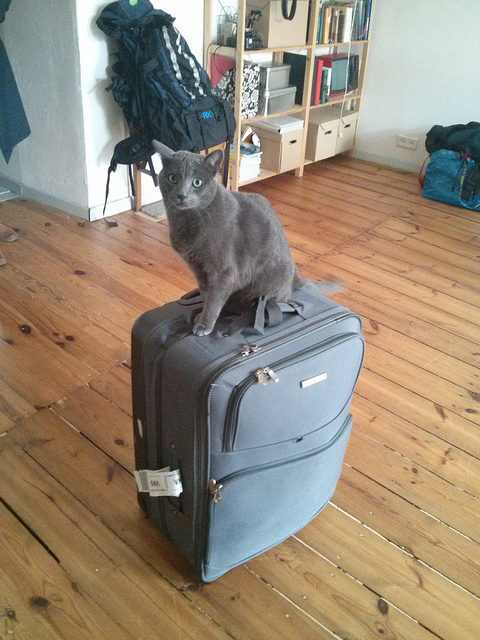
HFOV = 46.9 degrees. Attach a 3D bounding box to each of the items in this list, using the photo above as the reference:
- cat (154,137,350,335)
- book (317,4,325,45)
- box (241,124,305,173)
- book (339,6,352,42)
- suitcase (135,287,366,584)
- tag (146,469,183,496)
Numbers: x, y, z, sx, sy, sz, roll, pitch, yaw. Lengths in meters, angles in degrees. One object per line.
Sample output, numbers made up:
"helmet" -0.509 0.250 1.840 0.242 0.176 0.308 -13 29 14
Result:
"cat" 0.014 -0.181 1.359 0.647 0.384 0.204 0 15 -44
"book" 0.517 -1.843 3.480 0.052 0.207 0.125 7 32 5
"box" 0.183 -1.153 3.650 0.380 0.301 0.248 -27 43 -34
"book" 0.685 -1.917 3.591 0.085 0.134 0.143 13 50 15
"suitcase" 0.003 0.223 1.295 0.518 0.573 0.381 -20 39 -34
"tag" -0.156 0.336 1.153 0.076 0.048 0.039 -2 18 11
